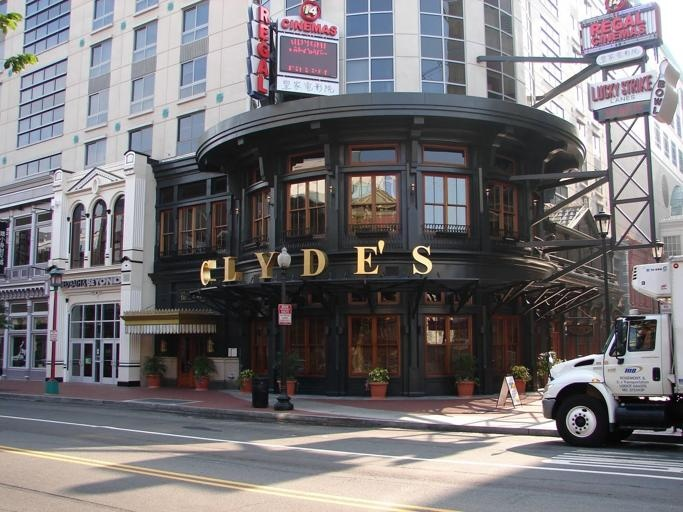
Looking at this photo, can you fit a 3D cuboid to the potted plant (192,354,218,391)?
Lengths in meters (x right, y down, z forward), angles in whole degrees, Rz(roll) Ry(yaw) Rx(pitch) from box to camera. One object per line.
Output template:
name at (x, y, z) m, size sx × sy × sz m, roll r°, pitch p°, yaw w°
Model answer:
potted plant at (-6.834, 5.767, 35.873) m, size 1.029 × 1.664 × 1.071 m, roll -6°, pitch -12°, yaw 37°

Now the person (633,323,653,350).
person at (8.322, 2.250, 20.110) m, size 0.504 × 0.753 × 0.139 m, roll -9°, pitch -11°, yaw 36°

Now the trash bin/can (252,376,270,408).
trash bin/can at (-3.153, 5.229, 27.754) m, size 0.559 × 1.172 × 0.374 m, roll 0°, pitch -9°, yaw -15°

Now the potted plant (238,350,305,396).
potted plant at (-3.278, 5.315, 32.349) m, size 2.587 × 2.645 × 1.725 m, roll 0°, pitch -7°, yaw 14°

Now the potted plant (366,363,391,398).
potted plant at (1.451, 5.436, 30.739) m, size 1.046 × 1.476 × 1.040 m, roll 1°, pitch -11°, yaw -2°

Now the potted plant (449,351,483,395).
potted plant at (5.408, 5.099, 30.893) m, size 1.436 × 2.567 × 1.497 m, roll 1°, pitch -5°, yaw -3°

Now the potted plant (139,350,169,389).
potted plant at (-9.795, 6.068, 37.890) m, size 1.385 × 1.942 × 1.413 m, roll 1°, pitch -7°, yaw -7°
